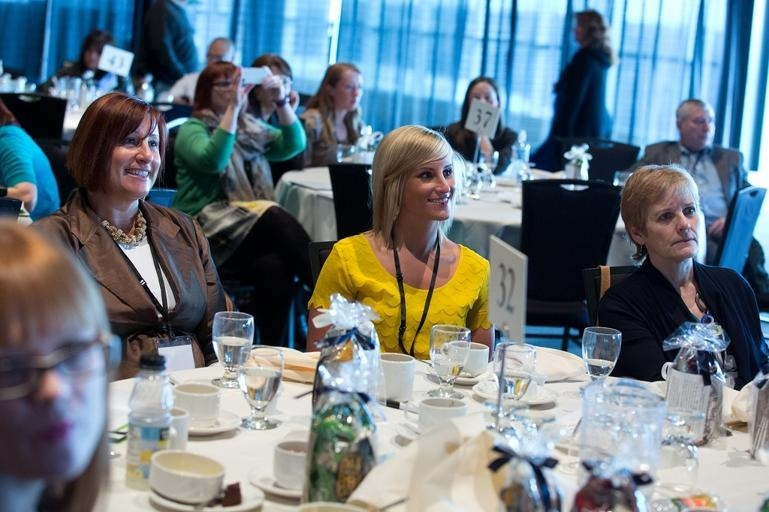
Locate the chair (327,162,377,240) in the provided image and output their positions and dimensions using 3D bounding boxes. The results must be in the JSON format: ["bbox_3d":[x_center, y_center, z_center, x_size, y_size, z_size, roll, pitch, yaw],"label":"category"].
[{"bbox_3d":[-0.180,-0.355,4.341,0.541,0.548,0.425,-1,5,-6],"label":"chair"}]

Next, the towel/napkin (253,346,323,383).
[{"bbox_3d":[-0.299,0.316,1.891,0.138,0.048,0.136,5,-2,-29],"label":"towel/napkin"}]

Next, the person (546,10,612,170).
[{"bbox_3d":[0.958,-0.840,3.134,0.247,0.542,0.915,7,2,15],"label":"person"}]

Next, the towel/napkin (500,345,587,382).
[{"bbox_3d":[0.571,0.334,2.100,0.165,0.052,0.165,9,2,-19],"label":"towel/napkin"}]
